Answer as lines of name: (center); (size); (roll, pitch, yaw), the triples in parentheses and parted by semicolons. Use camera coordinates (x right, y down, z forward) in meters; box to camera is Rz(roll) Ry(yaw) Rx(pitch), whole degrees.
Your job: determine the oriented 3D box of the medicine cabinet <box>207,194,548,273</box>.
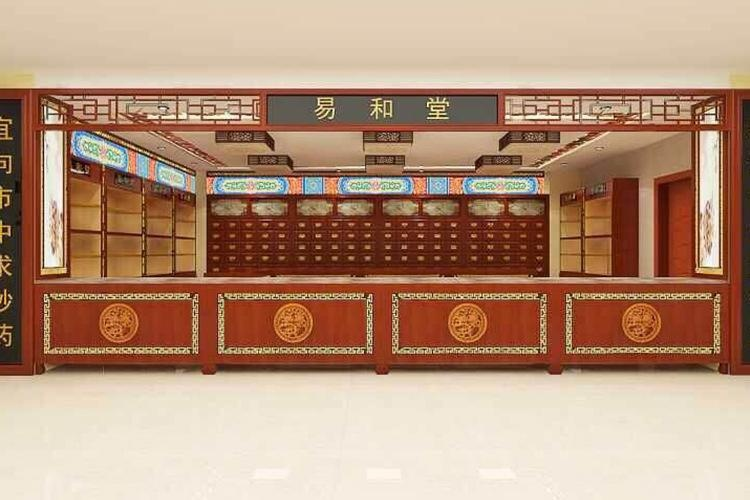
medicine cabinet: (0.078, -0.340, 14.439); (7.124, 1.705, 0.789); (0, 5, 3)
